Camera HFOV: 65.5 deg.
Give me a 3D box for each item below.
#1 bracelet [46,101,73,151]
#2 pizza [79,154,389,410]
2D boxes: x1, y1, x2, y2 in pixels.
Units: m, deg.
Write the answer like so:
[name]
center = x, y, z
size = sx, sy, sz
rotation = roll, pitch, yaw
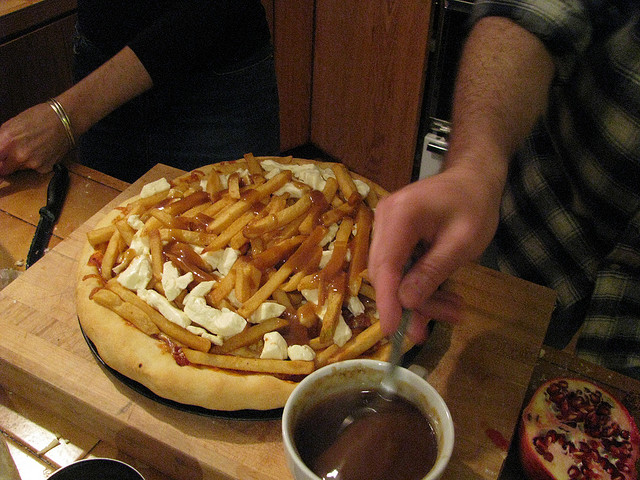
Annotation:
[bracelet]
center = -1.144, -0.513, 2.205
size = 0.027, 0.162, 0.127
rotation = -27, 60, -21
[pizza]
center = -0.295, 0.053, 1.616
size = 1.014, 0.208, 0.932
rotation = 4, 56, -1
